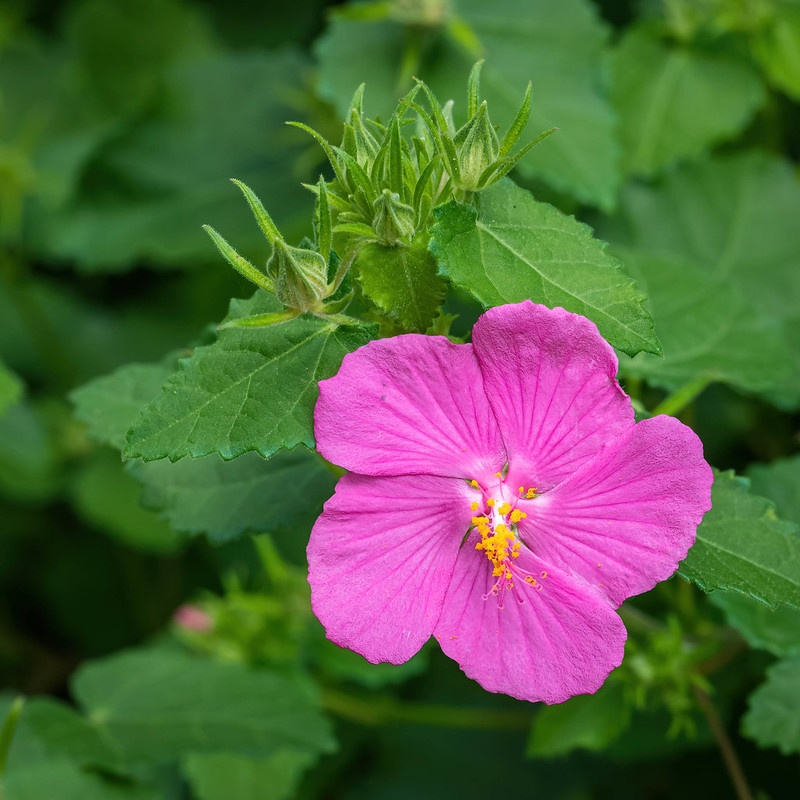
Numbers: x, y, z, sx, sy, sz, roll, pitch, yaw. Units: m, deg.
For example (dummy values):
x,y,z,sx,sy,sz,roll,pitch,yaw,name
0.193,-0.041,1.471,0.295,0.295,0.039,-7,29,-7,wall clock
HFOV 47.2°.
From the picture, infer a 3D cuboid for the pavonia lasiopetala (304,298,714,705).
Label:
x,y,z,sx,sy,sz,roll,pitch,yaw,name
0.156,0.137,1.378,0.573,0.226,0.603,0,55,8,pavonia lasiopetala
